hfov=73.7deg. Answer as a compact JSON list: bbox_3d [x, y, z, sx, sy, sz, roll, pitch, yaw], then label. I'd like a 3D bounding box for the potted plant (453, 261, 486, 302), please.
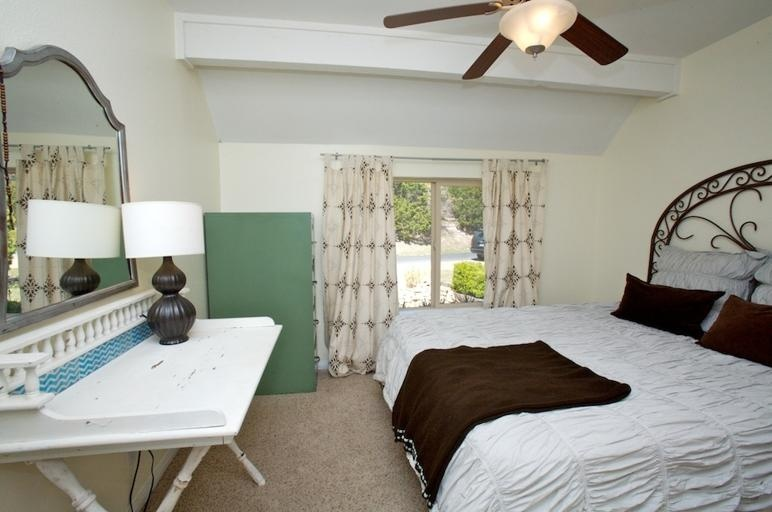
[{"bbox_3d":[0.886,0.247,5.503,0.383,0.192,0.386,-2,27,-8],"label":"potted plant"}]

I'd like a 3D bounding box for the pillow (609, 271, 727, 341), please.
[{"bbox_3d":[2.269,0.416,4.148,0.205,0.417,0.642,24,-5,-38],"label":"pillow"}]

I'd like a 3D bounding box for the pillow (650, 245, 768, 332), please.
[{"bbox_3d":[2.621,0.187,4.211,0.217,0.662,0.623,22,-4,-22],"label":"pillow"}]
